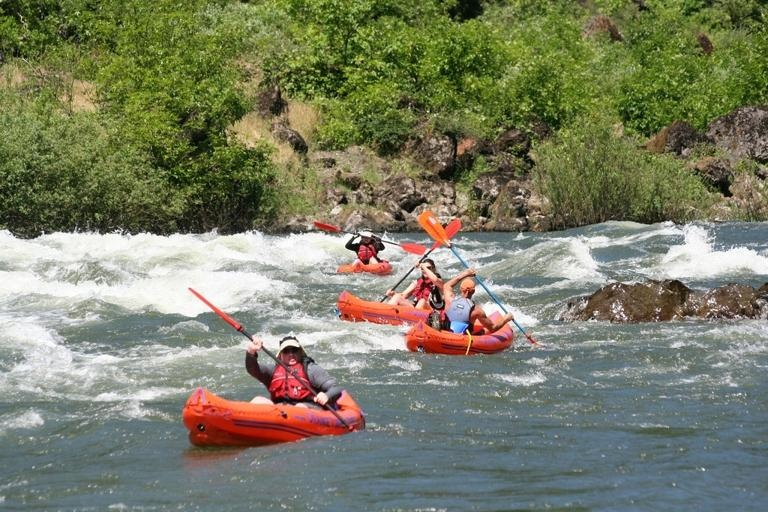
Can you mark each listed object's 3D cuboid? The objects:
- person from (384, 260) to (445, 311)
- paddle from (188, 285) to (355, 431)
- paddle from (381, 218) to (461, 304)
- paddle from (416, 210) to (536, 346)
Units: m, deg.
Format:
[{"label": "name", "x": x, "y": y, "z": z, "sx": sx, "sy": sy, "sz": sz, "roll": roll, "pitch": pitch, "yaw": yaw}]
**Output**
[{"label": "person", "x": 1.163, "y": 0.965, "z": 40.826, "sx": 1.946, "sy": 1.073, "sz": 1.113, "roll": 14, "pitch": 5, "yaw": -44}, {"label": "paddle", "x": -3.033, "y": 2.863, "z": 37.245, "sx": 0.389, "sy": 5.632, "sz": 0.266, "roll": -50, "pitch": -6, "yaw": -21}, {"label": "paddle", "x": 1.249, "y": 0.218, "z": 44.874, "sx": 0.231, "sy": 0.851, "sz": 4.948, "roll": 1, "pitch": -38, "yaw": -47}, {"label": "paddle", "x": 2.915, "y": 0.759, "z": 43.281, "sx": 0.734, "sy": 6.407, "sz": 0.273, "roll": -48, "pitch": -24, "yaw": 11}]
